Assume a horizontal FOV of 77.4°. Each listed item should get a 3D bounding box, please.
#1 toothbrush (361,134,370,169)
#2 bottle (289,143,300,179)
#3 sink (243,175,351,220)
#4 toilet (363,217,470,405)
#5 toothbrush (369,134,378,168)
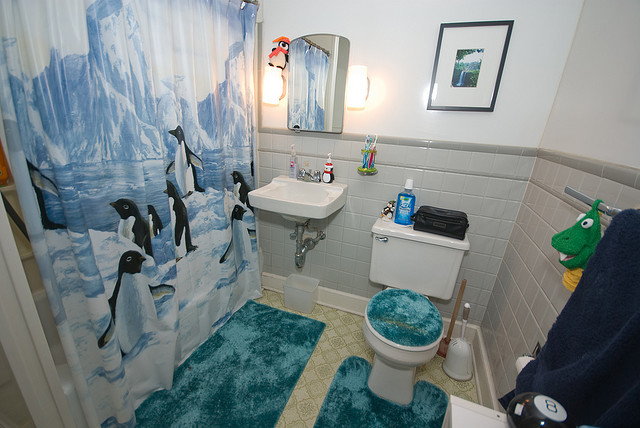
[{"bbox_3d":[0.313,-0.436,2.735,0.011,0.193,0.064,21,-7,-31],"label":"toothbrush"},{"bbox_3d":[-0.187,-0.388,2.941,0.073,0.242,0.114,1,22,-6],"label":"bottle"},{"bbox_3d":[-0.139,-0.095,2.796,0.595,0.227,0.454,11,22,17],"label":"sink"},{"bbox_3d":[0.675,0.517,2.674,0.745,1.147,1.079,11,26,21],"label":"toilet"},{"bbox_3d":[0.357,-0.431,2.740,0.036,0.254,0.016,16,-10,-19],"label":"toothbrush"}]
